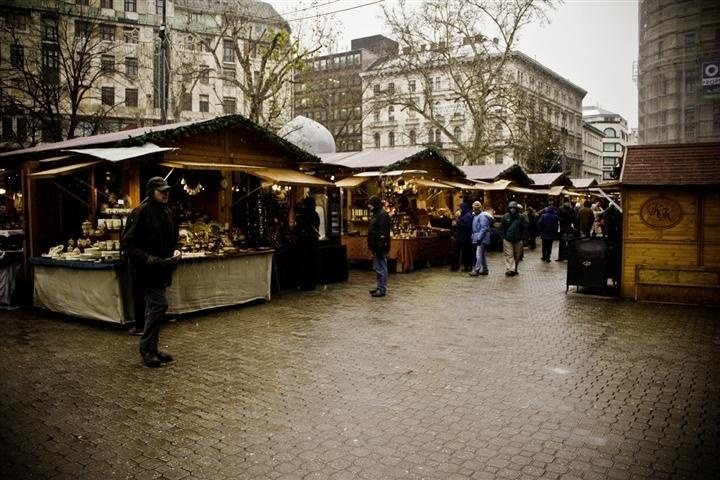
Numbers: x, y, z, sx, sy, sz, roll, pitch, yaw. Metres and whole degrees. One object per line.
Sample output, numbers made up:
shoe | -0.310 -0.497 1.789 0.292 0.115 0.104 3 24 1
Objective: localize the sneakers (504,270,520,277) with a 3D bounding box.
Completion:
sneakers | 4.583 1.001 18.076 0.464 0.203 0.157 6 -8 -40

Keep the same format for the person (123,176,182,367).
person | -3.429 0.503 10.159 0.914 3.015 0.884 -10 16 -38

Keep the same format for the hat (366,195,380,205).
hat | 0.340 -1.012 15.001 0.315 0.282 0.241 -11 16 -7

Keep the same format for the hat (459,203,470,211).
hat | 3.362 -1.071 19.128 0.318 0.258 0.236 5 -4 -22

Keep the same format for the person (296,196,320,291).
person | -1.398 0.080 15.751 0.514 2.318 0.684 2 12 10

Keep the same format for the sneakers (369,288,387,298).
sneakers | 0.450 1.296 14.896 0.325 0.121 0.202 0 11 -5

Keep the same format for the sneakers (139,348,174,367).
sneakers | -3.390 1.951 10.087 0.561 0.245 0.226 -1 5 14

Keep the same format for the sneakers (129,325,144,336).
sneakers | -4.320 1.737 11.566 0.218 0.153 0.380 1 -4 -30

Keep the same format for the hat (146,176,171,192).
hat | -3.446 -0.963 10.247 0.324 0.178 0.233 -5 3 4
